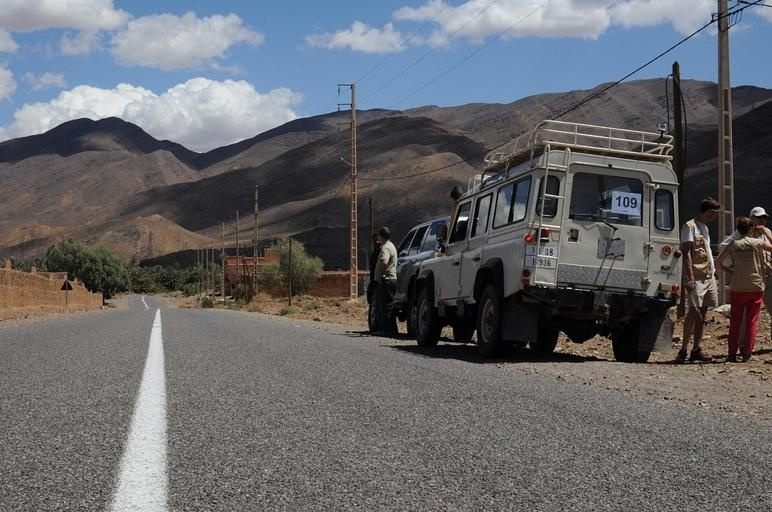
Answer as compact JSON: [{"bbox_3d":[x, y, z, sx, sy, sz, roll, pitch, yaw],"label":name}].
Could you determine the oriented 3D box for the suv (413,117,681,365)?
[{"bbox_3d":[2.860,-0.226,11.911,4.241,4.045,2.600,2,-4,25],"label":"suv"}]

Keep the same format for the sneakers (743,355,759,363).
[{"bbox_3d":[5.980,1.676,11.165,0.249,0.119,0.086,-5,8,-37],"label":"sneakers"}]

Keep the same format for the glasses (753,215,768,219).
[{"bbox_3d":[6.453,-0.675,11.625,0.103,0.046,0.149,2,-4,-14],"label":"glasses"}]

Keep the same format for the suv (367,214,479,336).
[{"bbox_3d":[1.227,0.615,16.627,2.392,2.706,4.350,2,-4,-20],"label":"suv"}]
